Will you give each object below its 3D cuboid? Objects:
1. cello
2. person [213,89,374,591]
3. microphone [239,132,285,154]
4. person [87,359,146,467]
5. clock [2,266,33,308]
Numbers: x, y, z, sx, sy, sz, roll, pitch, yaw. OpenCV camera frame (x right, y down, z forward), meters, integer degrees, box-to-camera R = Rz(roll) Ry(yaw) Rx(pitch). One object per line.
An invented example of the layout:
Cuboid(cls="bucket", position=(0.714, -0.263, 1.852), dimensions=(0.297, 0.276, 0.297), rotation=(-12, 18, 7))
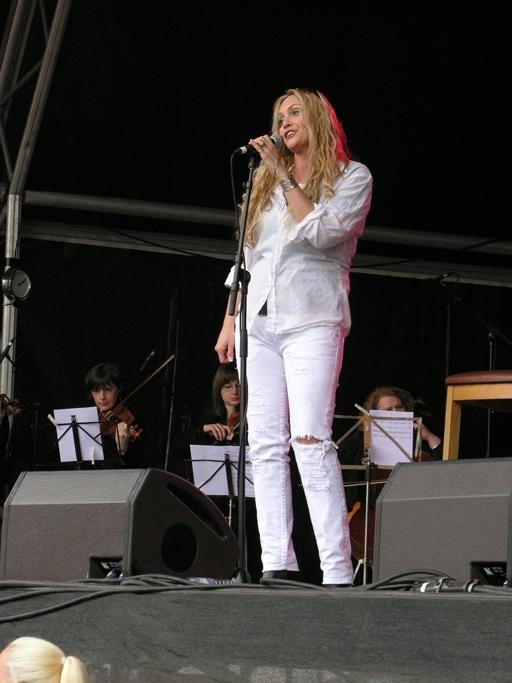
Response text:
Cuboid(cls="cello", position=(0.783, 0.795, 6.565), dimensions=(0.571, 1.170, 0.504), rotation=(0, 2, 7))
Cuboid(cls="person", position=(0.102, -0.045, 3.307), dimensions=(0.474, 1.457, 0.449), rotation=(-4, -9, 37))
Cuboid(cls="microphone", position=(0.033, -0.594, 3.360), dimensions=(0.051, 0.051, 0.190), rotation=(41, 36, 22))
Cuboid(cls="person", position=(-0.971, 0.501, 7.318), dimensions=(0.344, 0.723, 0.234), rotation=(-17, -2, 9))
Cuboid(cls="clock", position=(-1.347, -0.312, 6.153), dimensions=(0.102, 0.205, 0.220), rotation=(3, -5, 19))
